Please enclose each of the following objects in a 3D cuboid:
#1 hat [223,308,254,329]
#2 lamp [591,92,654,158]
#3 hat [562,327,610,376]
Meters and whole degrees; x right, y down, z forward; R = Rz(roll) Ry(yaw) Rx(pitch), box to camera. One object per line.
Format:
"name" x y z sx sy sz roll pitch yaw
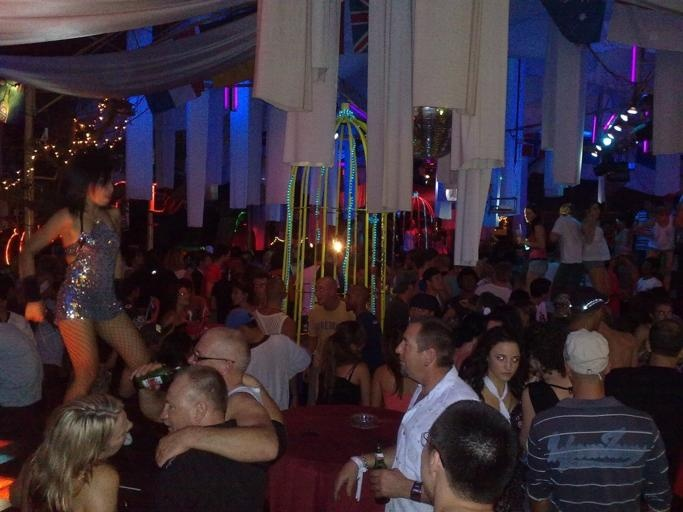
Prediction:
"hat" -0.910 0.562 5.330 0.233 0.147 0.178 -11 12 -7
"lamp" 4.816 -2.190 10.269 0.864 0.838 1.347 1 -5 25
"hat" 1.366 0.565 3.355 0.173 0.258 0.107 -7 -49 12
